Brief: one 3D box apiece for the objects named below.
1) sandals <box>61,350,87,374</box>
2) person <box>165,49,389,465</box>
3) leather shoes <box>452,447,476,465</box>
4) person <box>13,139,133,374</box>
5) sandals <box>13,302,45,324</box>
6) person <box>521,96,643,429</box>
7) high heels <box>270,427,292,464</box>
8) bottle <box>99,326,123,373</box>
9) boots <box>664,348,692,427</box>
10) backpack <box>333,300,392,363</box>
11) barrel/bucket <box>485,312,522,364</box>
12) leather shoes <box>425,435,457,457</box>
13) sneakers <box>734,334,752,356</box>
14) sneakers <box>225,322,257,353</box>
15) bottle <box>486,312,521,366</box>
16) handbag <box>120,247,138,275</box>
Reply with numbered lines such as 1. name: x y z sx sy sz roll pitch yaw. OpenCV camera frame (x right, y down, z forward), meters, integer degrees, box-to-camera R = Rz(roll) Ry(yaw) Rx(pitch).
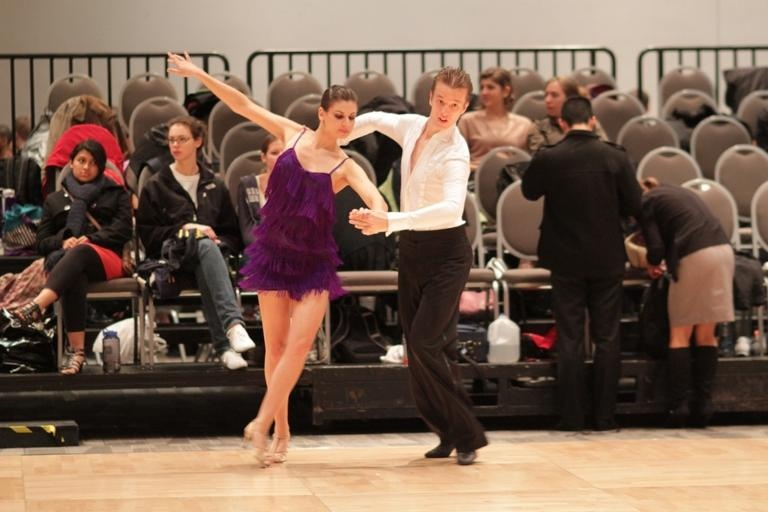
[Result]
1. sandals: -2.181 0.742 7.118 0.134 0.153 0.267 2 7 17
2. person: -0.552 0.106 6.281 1.071 2.446 0.529 -1 7 -3
3. leather shoes: 0.522 1.286 6.453 0.125 0.118 0.073 -3 7 -28
4. person: -2.279 -0.023 7.329 0.784 1.619 0.833 0 7 5
5. sandals: -2.477 0.408 7.022 0.234 0.111 0.092 -2 12 -20
6. person: 1.439 0.043 7.264 0.803 2.361 0.478 1 7 14
7. high heels: -0.664 1.234 6.476 0.144 0.175 0.431 1 -13 -5
8. bottle: -1.946 0.676 7.132 0.121 0.263 0.239 -4 7 -25
9. boots: 2.202 0.974 7.371 0.201 0.601 0.197 -1 7 -7
10. backpack: -0.202 0.572 7.469 0.489 0.514 0.368 -6 -8 44
11. barrel/bucket: 0.890 0.605 7.348 0.270 0.355 0.169 -1 7 -8
12. leather shoes: 0.373 1.267 6.607 0.248 0.174 0.088 1 -1 -1
13. sneakers: 2.738 0.687 7.631 0.134 0.133 0.195 -1 32 28
14. sneakers: -1.019 0.583 7.049 0.137 0.113 0.308 -7 15 -14
15. bottle: 0.878 0.622 7.526 0.320 0.435 0.320 0 0 0
16. handbag: -1.883 0.031 7.417 0.059 0.176 0.128 -4 -5 24
